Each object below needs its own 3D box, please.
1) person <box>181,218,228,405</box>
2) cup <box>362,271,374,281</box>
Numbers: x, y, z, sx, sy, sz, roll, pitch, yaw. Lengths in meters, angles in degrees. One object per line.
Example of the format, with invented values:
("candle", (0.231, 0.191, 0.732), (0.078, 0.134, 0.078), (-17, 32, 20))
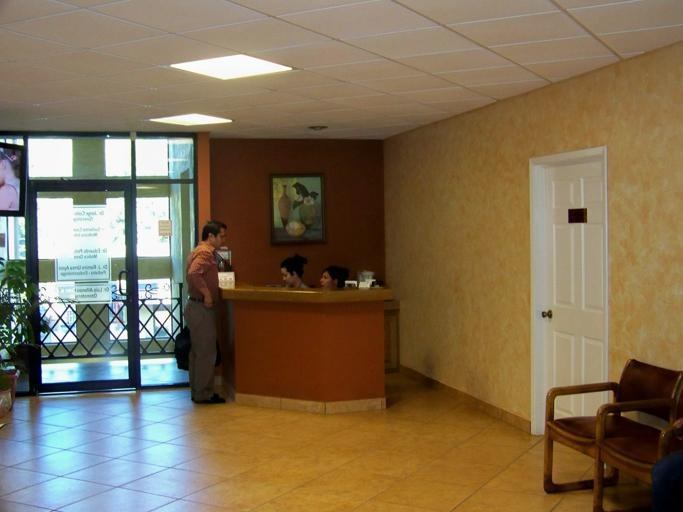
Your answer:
("person", (-1.664, 0.682, 7.072), (0.473, 2.183, 0.398), (-2, 3, -16))
("cup", (0.320, 0.237, 6.702), (0.111, 0.082, 0.111), (1, 1, 0))
